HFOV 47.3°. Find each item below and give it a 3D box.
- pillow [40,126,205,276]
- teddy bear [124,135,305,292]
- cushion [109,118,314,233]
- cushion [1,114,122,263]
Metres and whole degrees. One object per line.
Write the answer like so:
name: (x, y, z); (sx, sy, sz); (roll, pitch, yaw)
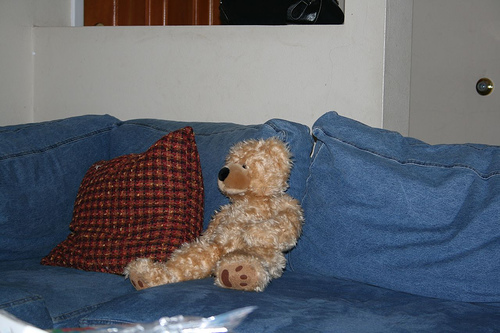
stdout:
pillow: (-0.459, 0.172, 2.100); (0.540, 0.564, 0.175); (-19, -26, 22)
teddy bear: (-0.060, 0.167, 1.928); (0.633, 0.471, 0.446); (-11, 11, -39)
cushion: (-0.020, 0.014, 2.277); (0.598, 0.152, 0.585); (10, -26, -9)
cushion: (-0.730, 0.077, 2.351); (0.520, 0.475, 0.240); (-4, -6, 15)
